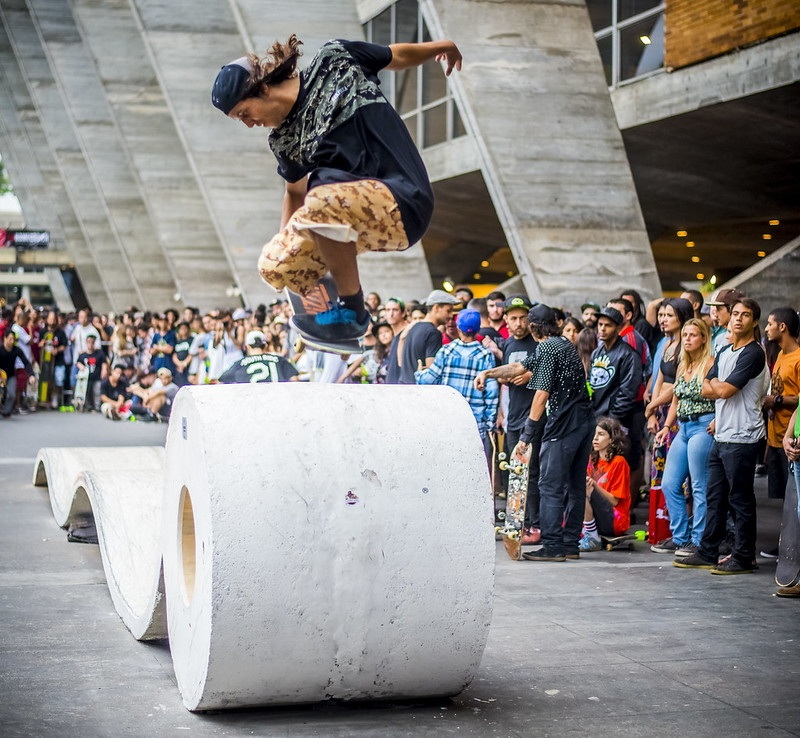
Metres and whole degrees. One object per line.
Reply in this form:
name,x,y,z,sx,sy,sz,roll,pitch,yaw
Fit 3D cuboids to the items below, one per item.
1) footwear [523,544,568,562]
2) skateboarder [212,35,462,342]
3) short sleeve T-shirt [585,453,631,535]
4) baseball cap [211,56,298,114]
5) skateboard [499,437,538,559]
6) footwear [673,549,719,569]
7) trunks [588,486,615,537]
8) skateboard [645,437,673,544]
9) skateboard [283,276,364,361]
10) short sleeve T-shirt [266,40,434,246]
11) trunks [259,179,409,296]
footwear,1.218,1.558,11.032,0.369,0.130,0.137,2,-4,15
skateboarder,-0.325,-0.968,8.725,2.079,2.141,1.505,4,-21,-1
short sleeve T-shirt,1.848,1.141,11.728,0.498,0.739,0.705,-2,-11,3
baseball cap,-0.904,-1.698,7.813,0.478,0.257,0.283,-40,23,-2
skateboard,0.953,1.081,10.847,0.272,0.962,0.169,-9,-24,42
footwear,2.402,1.565,10.639,0.378,0.133,0.126,1,-5,11
trunks,1.797,1.285,11.673,0.260,0.390,0.133,11,-30,-35
skateboard,2.284,1.108,11.754,0.312,0.874,0.268,-3,2,-20
skateboard,-0.534,-0.327,8.754,0.276,0.330,0.858,38,10,33
short sleeve T-shirt,-0.298,-1.386,7.937,0.969,1.183,0.357,1,10,0
trunks,-0.424,-0.818,7.966,0.787,0.275,0.708,-10,-36,-19
